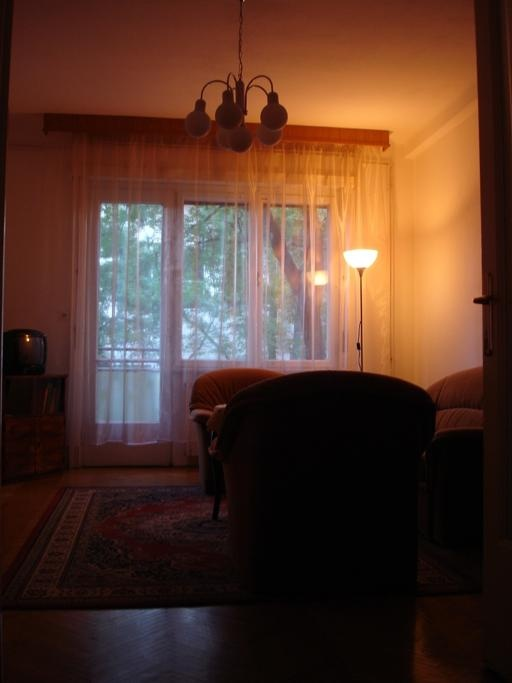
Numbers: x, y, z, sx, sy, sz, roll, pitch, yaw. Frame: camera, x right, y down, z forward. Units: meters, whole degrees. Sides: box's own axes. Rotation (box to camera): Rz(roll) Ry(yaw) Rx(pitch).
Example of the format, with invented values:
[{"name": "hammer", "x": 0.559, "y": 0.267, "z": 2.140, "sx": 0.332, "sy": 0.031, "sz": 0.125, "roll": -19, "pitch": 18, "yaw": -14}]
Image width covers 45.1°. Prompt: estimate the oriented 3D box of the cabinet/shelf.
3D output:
[{"name": "cabinet/shelf", "x": -1.553, "y": 0.574, "z": 4.301, "sx": 0.432, "sy": 0.691, "sz": 0.661, "roll": -1, "pitch": 2, "yaw": -20}]
